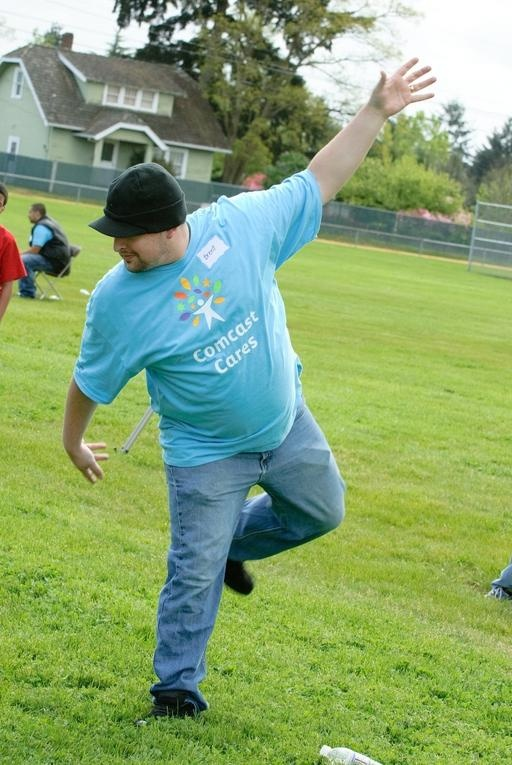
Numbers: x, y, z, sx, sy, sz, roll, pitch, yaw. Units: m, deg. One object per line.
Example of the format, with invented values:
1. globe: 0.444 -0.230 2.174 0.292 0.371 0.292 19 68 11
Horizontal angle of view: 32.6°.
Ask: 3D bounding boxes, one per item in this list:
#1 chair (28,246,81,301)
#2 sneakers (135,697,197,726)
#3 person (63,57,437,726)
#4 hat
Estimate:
1. chair: -2.990 -1.544 12.445 0.543 0.722 0.566 29 26 30
2. sneakers: -0.288 1.074 2.853 0.167 0.061 0.052 -13 21 -19
3. person: -0.122 -0.056 3.009 0.680 2.309 1.039 19 11 32
4. hat: -0.356 -0.557 2.703 0.290 0.251 0.236 10 9 -6
